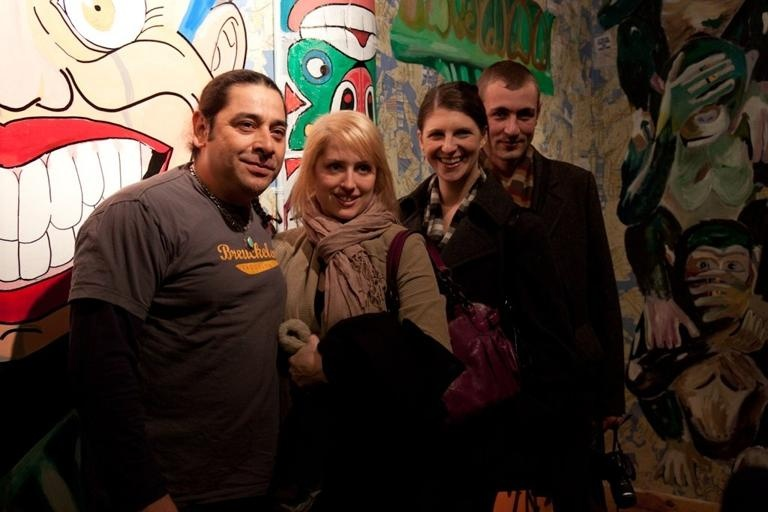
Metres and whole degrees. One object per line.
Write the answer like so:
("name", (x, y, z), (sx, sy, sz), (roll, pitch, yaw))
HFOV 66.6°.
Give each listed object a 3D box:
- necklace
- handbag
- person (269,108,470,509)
("necklace", (-0.594, -0.175, 2.221), (0.079, 0.316, 0.235), (-35, 12, -8))
("handbag", (0.476, 0.201, 2.658), (0.402, 0.843, 0.582), (-41, 11, 28))
("person", (-0.097, 0.202, 2.341), (0.663, 1.574, 0.349), (0, -6, -10))
